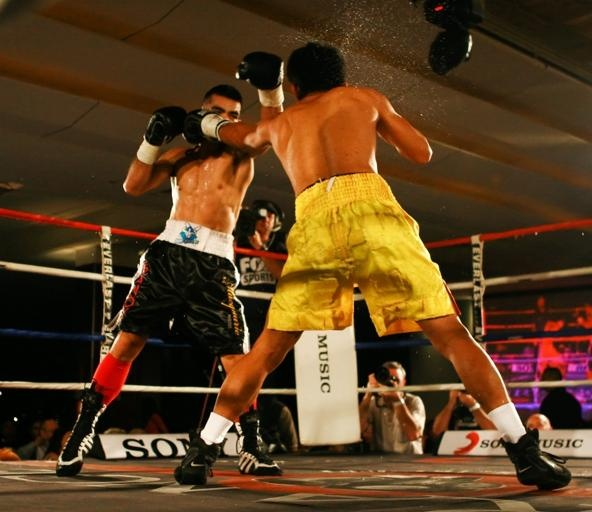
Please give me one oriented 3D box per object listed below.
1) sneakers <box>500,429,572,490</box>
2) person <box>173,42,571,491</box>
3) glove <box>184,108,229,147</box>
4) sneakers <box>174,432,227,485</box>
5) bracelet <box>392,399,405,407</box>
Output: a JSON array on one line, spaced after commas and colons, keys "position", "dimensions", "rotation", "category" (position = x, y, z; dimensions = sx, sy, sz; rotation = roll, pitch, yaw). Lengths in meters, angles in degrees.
[{"position": [0.707, 0.569, 1.646], "dimensions": [0.084, 0.135, 0.193], "rotation": [7, -26, -31], "category": "sneakers"}, {"position": [0.189, -0.030, 1.920], "dimensions": [1.234, 1.524, 0.288], "rotation": [-1, -16, 17], "category": "person"}, {"position": [-0.352, -0.489, 2.303], "dimensions": [0.185, 0.075, 0.185], "rotation": [8, -26, 11], "category": "glove"}, {"position": [-0.285, 0.650, 1.826], "dimensions": [0.096, 0.077, 0.216], "rotation": [9, -7, 4], "category": "sneakers"}, {"position": [0.590, 0.858, 3.425], "dimensions": [0.086, 0.022, 0.056], "rotation": [-14, -17, 18], "category": "bracelet"}]
